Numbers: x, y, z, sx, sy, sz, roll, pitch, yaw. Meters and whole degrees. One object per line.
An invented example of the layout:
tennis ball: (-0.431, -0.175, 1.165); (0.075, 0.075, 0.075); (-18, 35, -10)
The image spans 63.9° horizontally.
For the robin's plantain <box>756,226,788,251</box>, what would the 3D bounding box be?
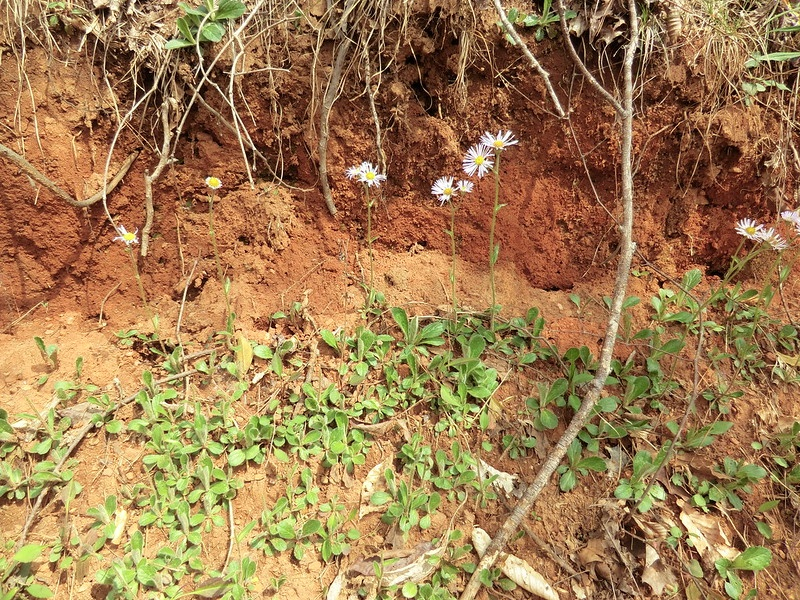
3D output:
robin's plantain: (2.312, -0.374, 3.991); (0.122, 0.053, 0.138); (14, 41, -8)
